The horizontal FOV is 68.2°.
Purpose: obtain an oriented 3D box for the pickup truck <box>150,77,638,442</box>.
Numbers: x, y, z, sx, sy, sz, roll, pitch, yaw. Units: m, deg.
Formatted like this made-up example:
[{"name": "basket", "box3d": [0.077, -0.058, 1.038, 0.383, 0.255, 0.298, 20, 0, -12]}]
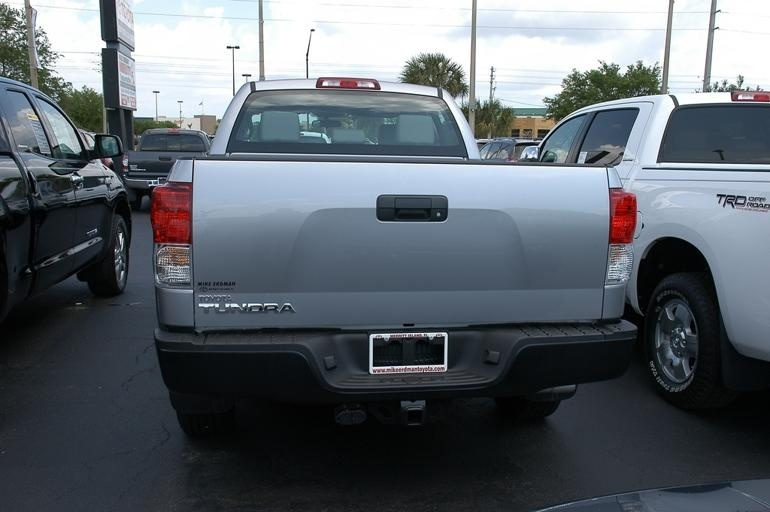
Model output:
[{"name": "pickup truck", "box3d": [-0.134, 0.038, 6.207, 3.013, 2.604, 5.851, 0, 1, -6]}]
